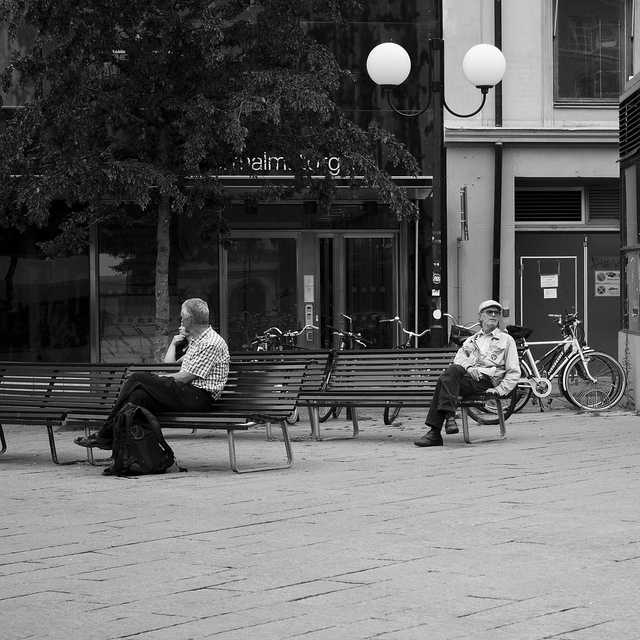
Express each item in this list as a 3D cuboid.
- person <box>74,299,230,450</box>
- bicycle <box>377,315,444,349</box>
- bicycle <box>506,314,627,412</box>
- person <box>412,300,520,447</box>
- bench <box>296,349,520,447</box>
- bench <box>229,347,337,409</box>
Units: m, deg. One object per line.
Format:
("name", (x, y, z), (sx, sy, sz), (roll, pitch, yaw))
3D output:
("person", (-1.435, 0.477, 11.936), (1.183, 1.308, 1.096), (1, -4, -26))
("bicycle", (1.169, 0.136, 18.285), (0.634, 0.464, 0.445), (-2, 3, 3))
("bicycle", (2.908, 0.556, 15.669), (1.757, 1.275, 0.815), (-1, 2, 5))
("person", (1.474, 0.509, 13.198), (0.585, 1.414, 1.134), (-3, -4, 36))
("bench", (1.117, 0.770, 13.501), (2.088, 0.989, 0.775), (0, -1, 5))
("bench", (-0.399, 0.523, 13.611), (1.026, 0.512, 0.501), (8, -15, -19))
